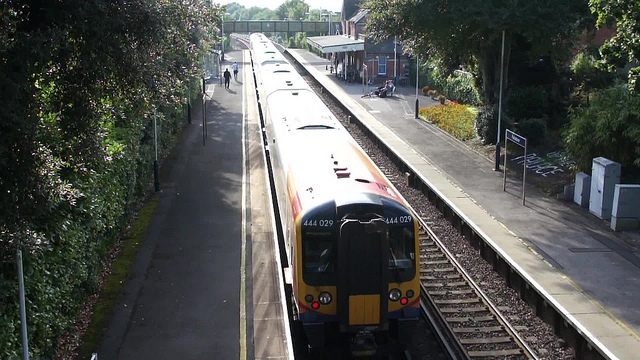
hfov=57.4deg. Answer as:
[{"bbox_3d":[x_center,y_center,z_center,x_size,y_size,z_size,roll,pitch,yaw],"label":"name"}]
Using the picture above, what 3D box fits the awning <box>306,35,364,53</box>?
[{"bbox_3d":[1.365,-15.884,69.047,5.304,1.589,17.561,-3,16,-3],"label":"awning"}]
